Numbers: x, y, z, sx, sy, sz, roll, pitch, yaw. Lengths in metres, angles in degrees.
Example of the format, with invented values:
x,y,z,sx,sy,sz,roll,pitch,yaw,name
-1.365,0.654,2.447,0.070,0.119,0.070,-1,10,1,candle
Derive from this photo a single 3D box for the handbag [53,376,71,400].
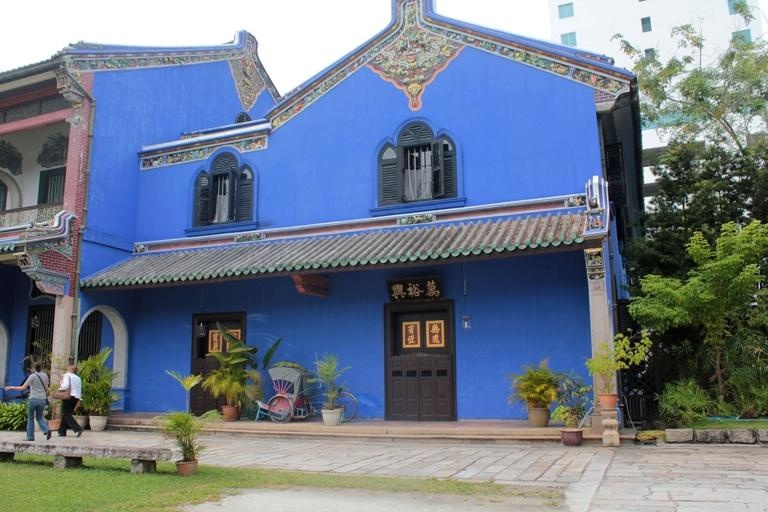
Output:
x,y,z,sx,sy,sz,roll,pitch,yaw,name
-7.276,3.019,14.913,0.576,0.510,0.220,-2,-11,25,handbag

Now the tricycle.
x,y,z,sx,sy,sz,roll,pitch,yaw,name
-2.048,3.453,16.402,2.620,1.290,0.918,0,-6,14,tricycle

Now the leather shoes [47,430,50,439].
x,y,z,sx,sy,sz,roll,pitch,yaw,name
-7.174,3.797,14.058,0.069,0.204,0.087,6,29,-28,leather shoes

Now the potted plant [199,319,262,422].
x,y,z,sx,sy,sz,roll,pitch,yaw,name
-3.915,2.931,16.735,1.279,2.394,1.571,8,-15,-32,potted plant

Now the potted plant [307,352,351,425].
x,y,z,sx,sy,sz,roll,pitch,yaw,name
-1.340,3.206,15.999,1.227,1.716,1.326,-4,-13,13,potted plant
